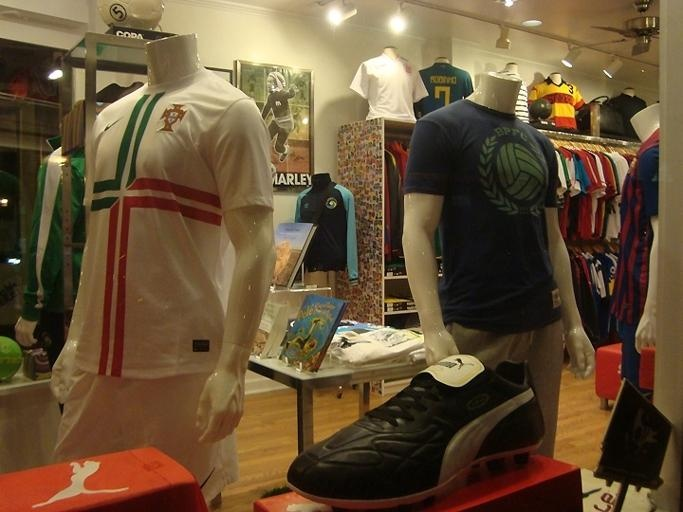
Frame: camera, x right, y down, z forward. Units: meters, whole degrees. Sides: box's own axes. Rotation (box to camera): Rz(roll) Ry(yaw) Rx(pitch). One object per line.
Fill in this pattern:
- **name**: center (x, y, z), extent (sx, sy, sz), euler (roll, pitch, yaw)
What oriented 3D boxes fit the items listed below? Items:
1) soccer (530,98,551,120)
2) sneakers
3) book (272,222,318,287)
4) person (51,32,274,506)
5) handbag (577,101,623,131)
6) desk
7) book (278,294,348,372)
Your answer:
- **soccer**: center (1.828, -1.351, 4.979), extent (0.160, 0.158, 0.155), euler (33, -8, -40)
- **sneakers**: center (0.159, 0.281, 1.001), extent (0.498, 0.216, 0.183), euler (-1, -1, -32)
- **book**: center (-0.304, -0.014, 3.195), extent (0.077, 0.354, 0.331), euler (20, -19, -25)
- **person**: center (-0.420, 0.018, 1.302), extent (0.570, 1.144, 0.368), euler (5, 7, 22)
- **handbag**: center (2.457, -1.405, 5.071), extent (0.347, 0.271, 0.205), euler (1, -2, -18)
- **desk**: center (-0.042, 0.398, 1.990), extent (0.593, 0.603, 0.603), euler (0, -2, -26)
- **book**: center (-0.095, 0.251, 1.739), extent (0.054, 0.228, 0.230), euler (22, -7, -26)
